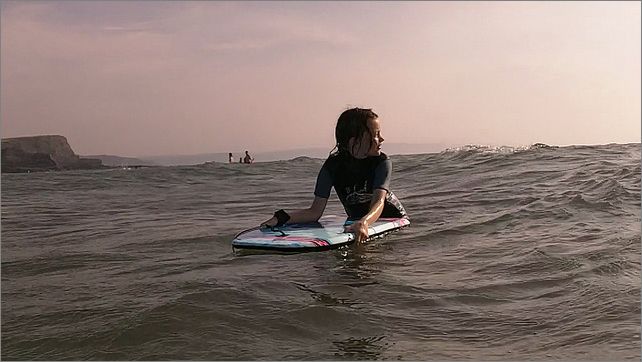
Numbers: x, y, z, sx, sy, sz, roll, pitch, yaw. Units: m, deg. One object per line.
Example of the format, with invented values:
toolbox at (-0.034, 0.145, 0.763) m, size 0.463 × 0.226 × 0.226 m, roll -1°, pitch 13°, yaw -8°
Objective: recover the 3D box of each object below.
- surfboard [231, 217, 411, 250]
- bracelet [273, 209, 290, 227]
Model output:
surfboard at (-0.365, 0.747, 6.859) m, size 1.638 × 0.226 × 1.133 m, roll -2°, pitch 7°, yaw 2°
bracelet at (-0.590, 0.541, 7.112) m, size 0.127 × 0.301 × 0.144 m, roll 13°, pitch -8°, yaw -21°
